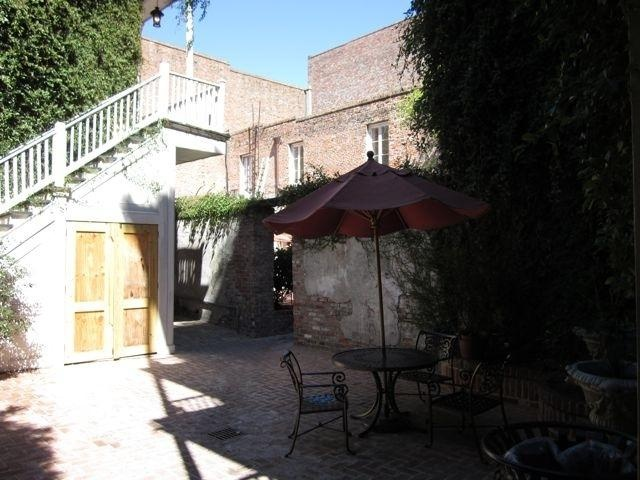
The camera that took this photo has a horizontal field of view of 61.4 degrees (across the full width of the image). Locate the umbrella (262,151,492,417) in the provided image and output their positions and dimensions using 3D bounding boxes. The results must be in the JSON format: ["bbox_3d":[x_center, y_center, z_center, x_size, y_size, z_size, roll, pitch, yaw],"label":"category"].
[{"bbox_3d":[0.799,0.411,7.362,2.511,3.309,2.363,1,2,34],"label":"umbrella"}]
